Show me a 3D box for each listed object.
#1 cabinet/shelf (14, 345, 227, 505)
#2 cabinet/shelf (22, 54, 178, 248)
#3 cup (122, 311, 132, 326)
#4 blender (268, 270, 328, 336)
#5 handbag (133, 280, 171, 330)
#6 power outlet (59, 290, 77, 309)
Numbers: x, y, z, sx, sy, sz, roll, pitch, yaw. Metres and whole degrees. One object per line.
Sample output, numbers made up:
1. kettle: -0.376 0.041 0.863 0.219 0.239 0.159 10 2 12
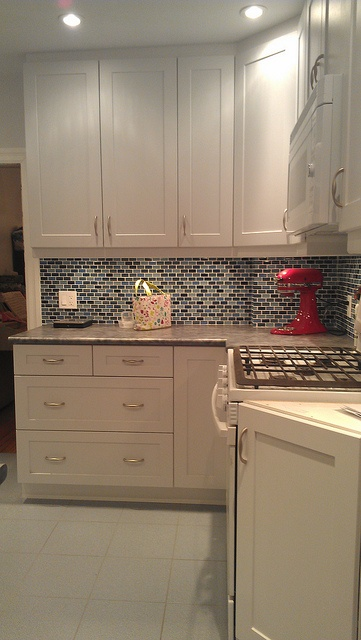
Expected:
1. cabinet/shelf: -0.266 0.471 2.242 0.676 0.582 0.265 0 0 5
2. cabinet/shelf: -0.426 -0.856 2.623 0.779 1.024 0.377 -1 2 -2
3. cup: -0.299 -0.007 2.615 0.079 0.099 0.078 0 6 0
4. blender: 0.565 -0.087 2.301 0.302 0.319 0.219 -4 6 -38
5. handbag: -0.151 -0.073 2.542 0.234 0.338 0.125 -4 4 -42
6. power outlet: -0.678 -0.124 2.835 0.090 0.109 0.010 1 3 0
